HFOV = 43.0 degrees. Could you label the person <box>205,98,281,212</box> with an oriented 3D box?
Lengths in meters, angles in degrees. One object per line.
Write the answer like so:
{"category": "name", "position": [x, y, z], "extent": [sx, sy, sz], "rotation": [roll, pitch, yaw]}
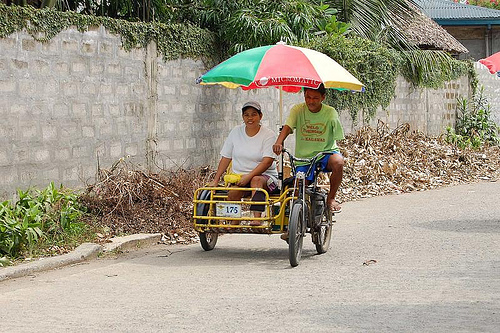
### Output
{"category": "person", "position": [-0.045, -0.090, 10.160], "extent": [0.952, 1.970, 1.143], "rotation": [10, 15, 42]}

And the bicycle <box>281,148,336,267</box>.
{"category": "bicycle", "position": [0.832, 0.595, 9.758], "extent": [0.579, 1.686, 1.486], "rotation": [3, 8, 23]}

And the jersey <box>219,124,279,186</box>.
{"category": "jersey", "position": [0.016, -0.267, 10.365], "extent": [0.976, 0.915, 0.578], "rotation": [4, 12, 13]}

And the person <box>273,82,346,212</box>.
{"category": "person", "position": [1.022, -0.300, 10.033], "extent": [1.101, 2.263, 1.308], "rotation": [-1, 1, 28]}

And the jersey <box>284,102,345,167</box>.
{"category": "jersey", "position": [1.018, -0.527, 10.338], "extent": [0.906, 1.083, 0.539], "rotation": [-4, 32, -3]}
